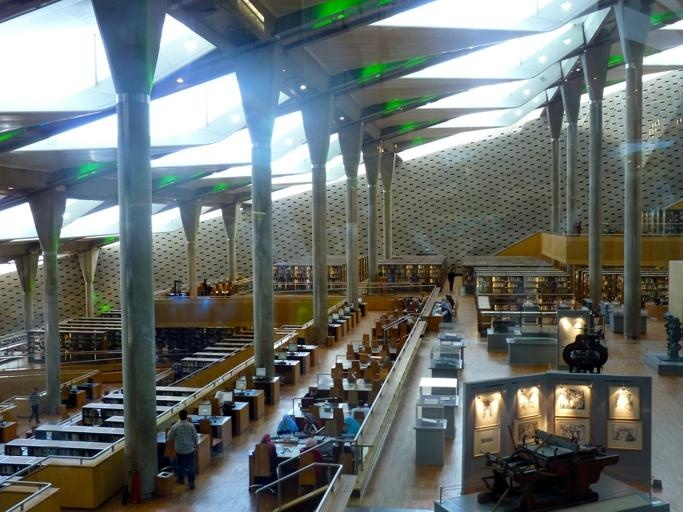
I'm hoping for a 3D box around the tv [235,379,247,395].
[{"bbox_3d":[-2.775,3.615,17.135,0.386,0.523,0.051,1,5,-4],"label":"tv"}]

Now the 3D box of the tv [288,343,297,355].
[{"bbox_3d":[-1.713,3.232,21.537,0.288,0.362,0.081,1,-3,-4],"label":"tv"}]

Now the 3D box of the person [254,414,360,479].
[{"bbox_3d":[-1.060,4.165,13.344,1.409,0.655,1.459,-1,0,7],"label":"person"}]

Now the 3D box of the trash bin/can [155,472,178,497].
[{"bbox_3d":[-3.720,4.755,13.138,0.500,0.511,0.367,2,-4,-26],"label":"trash bin/can"}]

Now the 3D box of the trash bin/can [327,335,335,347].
[{"bbox_3d":[-0.451,3.489,25.616,0.294,0.505,0.537,-2,5,7],"label":"trash bin/can"}]

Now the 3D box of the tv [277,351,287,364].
[{"bbox_3d":[-1.959,3.339,20.396,0.388,0.534,0.285,2,-3,3],"label":"tv"}]

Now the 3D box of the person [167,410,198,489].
[{"bbox_3d":[-3.434,4.141,13.549,0.543,1.653,0.458,-3,-3,8],"label":"person"}]

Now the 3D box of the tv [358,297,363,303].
[{"bbox_3d":[1.018,2.479,34.477,0.165,0.323,0.319,0,3,14],"label":"tv"}]

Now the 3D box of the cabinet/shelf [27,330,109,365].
[{"bbox_3d":[-14.180,4.628,32.227,5.005,1.666,3.023,-3,-3,11],"label":"cabinet/shelf"}]

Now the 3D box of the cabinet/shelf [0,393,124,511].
[{"bbox_3d":[-5.756,4.450,13.347,1.701,0.488,1.982,2,4,22],"label":"cabinet/shelf"}]

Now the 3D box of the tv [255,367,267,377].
[{"bbox_3d":[-2.405,3.447,18.516,0.267,0.255,0.066,4,-14,2],"label":"tv"}]

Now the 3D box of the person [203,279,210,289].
[{"bbox_3d":[-9.309,1.960,42.712,0.396,0.776,0.412,0,4,17],"label":"person"}]

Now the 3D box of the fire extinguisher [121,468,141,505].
[{"bbox_3d":[-4.360,4.739,12.883,0.383,0.707,0.104,-3,-3,5],"label":"fire extinguisher"}]

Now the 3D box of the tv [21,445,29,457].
[{"bbox_3d":[-7.411,4.545,14.573,0.259,0.266,0.028,-5,-7,18],"label":"tv"}]
